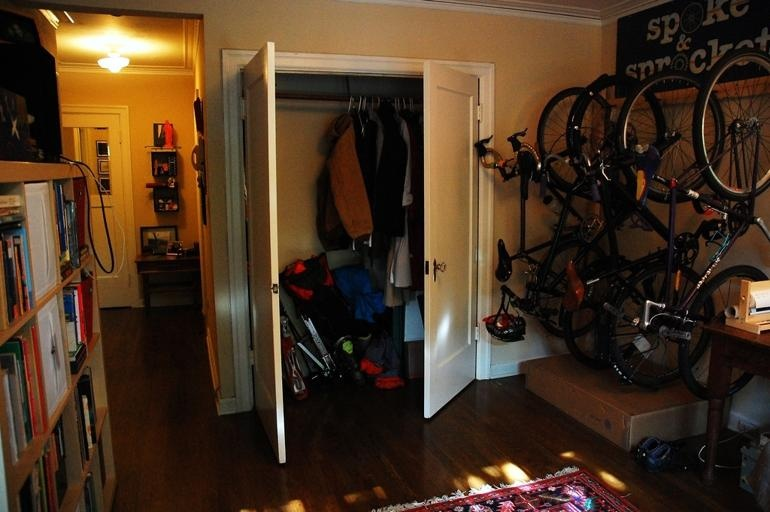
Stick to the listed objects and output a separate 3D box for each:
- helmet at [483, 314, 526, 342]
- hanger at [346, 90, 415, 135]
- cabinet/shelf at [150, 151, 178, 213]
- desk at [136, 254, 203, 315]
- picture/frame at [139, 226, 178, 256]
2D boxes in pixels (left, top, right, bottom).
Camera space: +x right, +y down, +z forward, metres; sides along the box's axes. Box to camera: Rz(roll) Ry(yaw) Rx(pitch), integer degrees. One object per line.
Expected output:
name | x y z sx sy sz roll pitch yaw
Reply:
helmet | 0.941 0.586 4.872 0.208 0.160 0.286 9 -9 -26
hanger | -0.010 -1.250 5.175 0.607 0.285 0.557 -5 14 -3
cabinet/shelf | -2.785 -0.941 7.558 0.363 0.804 0.172 -4 12 -1
desk | -2.700 0.334 7.598 0.753 0.677 0.499 -4 11 -26
picture/frame | -2.895 -0.187 7.601 0.336 0.313 0.037 -3 8 -17
